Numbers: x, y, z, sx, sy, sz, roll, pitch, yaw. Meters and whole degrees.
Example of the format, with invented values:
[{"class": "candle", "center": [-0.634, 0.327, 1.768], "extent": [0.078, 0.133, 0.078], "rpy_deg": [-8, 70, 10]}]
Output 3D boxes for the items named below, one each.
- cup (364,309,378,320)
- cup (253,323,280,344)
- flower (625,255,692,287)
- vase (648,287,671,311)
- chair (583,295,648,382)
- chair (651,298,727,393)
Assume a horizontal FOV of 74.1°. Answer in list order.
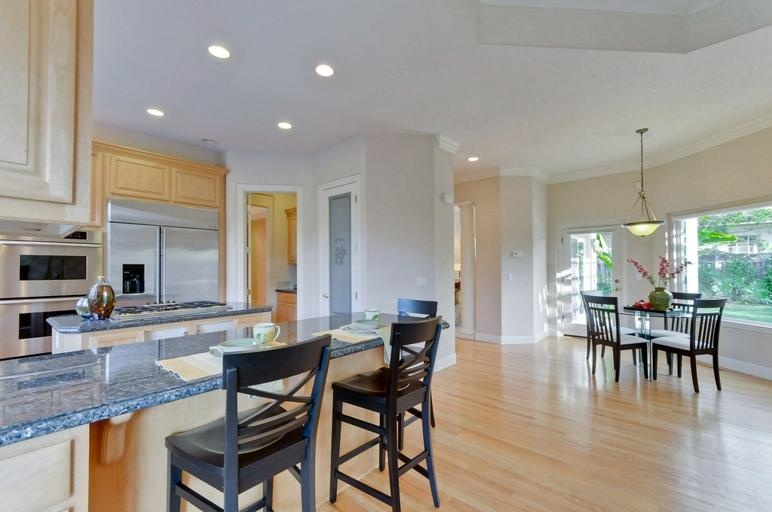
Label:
[{"class": "cup", "center": [-0.120, 0.514, 4.492], "extent": [0.095, 0.104, 0.107], "rpy_deg": [3, -4, -33]}, {"class": "cup", "center": [-0.885, 0.577, 3.799], "extent": [0.174, 0.121, 0.139], "rpy_deg": [2, -7, -25]}, {"class": "flower", "center": [3.848, 0.234, 7.241], "extent": [0.666, 0.366, 0.657], "rpy_deg": [-3, -4, 37]}, {"class": "vase", "center": [3.376, 0.541, 6.433], "extent": [0.281, 0.320, 0.270], "rpy_deg": [-1, 0, -4]}, {"class": "chair", "center": [2.869, 0.987, 6.405], "extent": [0.717, 1.067, 0.625], "rpy_deg": [-5, -4, 28]}, {"class": "chair", "center": [3.604, 1.039, 6.058], "extent": [0.572, 0.759, 0.729], "rpy_deg": [-1, -4, -32]}]
